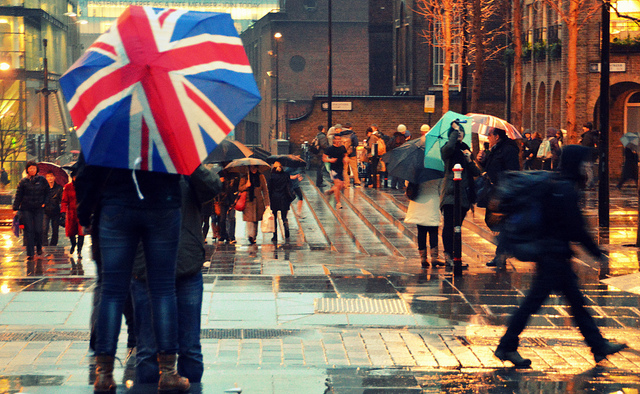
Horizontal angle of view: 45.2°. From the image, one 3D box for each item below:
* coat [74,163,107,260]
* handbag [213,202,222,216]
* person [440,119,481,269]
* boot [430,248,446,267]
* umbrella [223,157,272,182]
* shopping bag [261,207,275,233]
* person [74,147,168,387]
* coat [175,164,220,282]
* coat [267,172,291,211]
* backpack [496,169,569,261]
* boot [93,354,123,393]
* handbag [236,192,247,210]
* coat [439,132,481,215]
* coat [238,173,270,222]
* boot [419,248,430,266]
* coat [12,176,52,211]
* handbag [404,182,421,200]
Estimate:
[{"bbox_3d":[-2.276,0.030,7.641,0.278,0.723,0.408,-4,5,-26],"label":"coat"},{"bbox_3d":[-2.591,0.278,19.423,0.163,0.202,0.297,17,22,-13],"label":"handbag"},{"bbox_3d":[2.497,-0.055,14.068,0.721,2.716,0.599,-5,6,-37],"label":"person"},{"bbox_3d":[2.263,1.134,14.766,0.264,0.355,0.251,-2,5,2],"label":"boot"},{"bbox_3d":[-1.770,-0.752,18.889,0.748,0.396,0.757,-4,-1,33],"label":"umbrella"},{"bbox_3d":[-1.303,0.572,19.184,0.320,0.652,0.465,-2,5,0],"label":"shopping bag"},{"bbox_3d":[-1.972,0.764,7.562,0.914,2.220,0.268,-1,5,11],"label":"person"},{"bbox_3d":[-1.352,0.269,8.470,0.393,1.260,0.599,-1,5,12],"label":"coat"},{"bbox_3d":[-1.051,-0.083,20.070,0.645,1.304,0.429,7,17,20],"label":"coat"},{"bbox_3d":[2.522,0.218,9.178,0.801,1.028,0.390,-1,5,12],"label":"backpack"},{"bbox_3d":[-2.138,1.731,7.636,0.215,0.388,0.204,-3,5,-15],"label":"boot"},{"bbox_3d":[-1.944,0.105,19.149,0.147,0.390,0.291,28,-18,-37],"label":"handbag"},{"bbox_3d":[2.536,-0.429,14.019,0.734,1.494,0.459,-5,6,-36],"label":"coat"},{"bbox_3d":[-1.615,-0.002,19.195,0.737,1.203,0.502,-3,5,-18],"label":"coat"},{"bbox_3d":[2.011,1.132,14.781,0.183,0.333,0.339,-1,5,5],"label":"boot"},{"bbox_3d":[-7.232,-0.086,19.135,1.140,1.002,0.625,-4,6,-32],"label":"coat"},{"bbox_3d":[1.756,-0.121,14.623,0.333,0.327,0.268,1,5,26],"label":"handbag"}]
